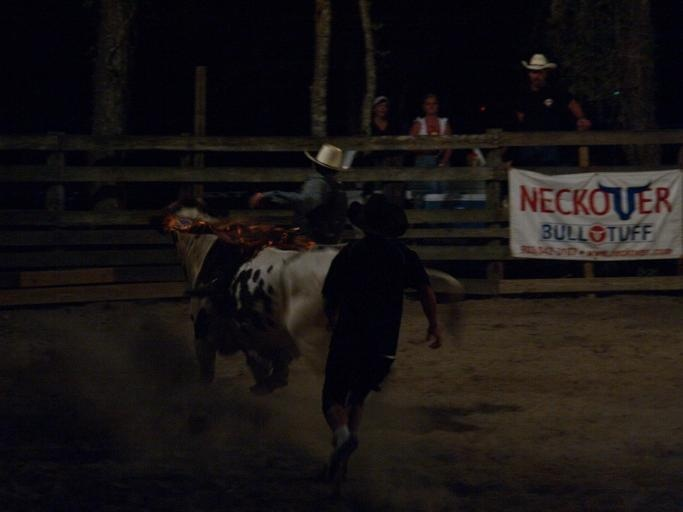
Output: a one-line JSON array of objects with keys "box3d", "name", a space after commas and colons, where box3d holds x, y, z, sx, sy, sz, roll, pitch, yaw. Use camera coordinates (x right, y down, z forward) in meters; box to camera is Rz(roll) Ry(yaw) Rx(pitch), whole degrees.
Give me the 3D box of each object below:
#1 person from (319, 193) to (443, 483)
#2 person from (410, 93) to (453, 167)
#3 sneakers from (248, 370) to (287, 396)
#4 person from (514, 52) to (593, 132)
[{"box3d": [0.286, 0.652, 6.604, 0.978, 2.369, 0.695, -2, 5, -16], "name": "person"}, {"box3d": [1.361, -1.958, 11.978, 0.617, 1.173, 0.827, 0, 4, 5], "name": "person"}, {"box3d": [-0.738, 1.315, 7.958, 0.359, 0.161, 0.227, -18, -12, 16], "name": "sneakers"}, {"box3d": [3.256, -2.567, 12.092, 1.041, 1.205, 0.543, 1, 5, 9], "name": "person"}]
